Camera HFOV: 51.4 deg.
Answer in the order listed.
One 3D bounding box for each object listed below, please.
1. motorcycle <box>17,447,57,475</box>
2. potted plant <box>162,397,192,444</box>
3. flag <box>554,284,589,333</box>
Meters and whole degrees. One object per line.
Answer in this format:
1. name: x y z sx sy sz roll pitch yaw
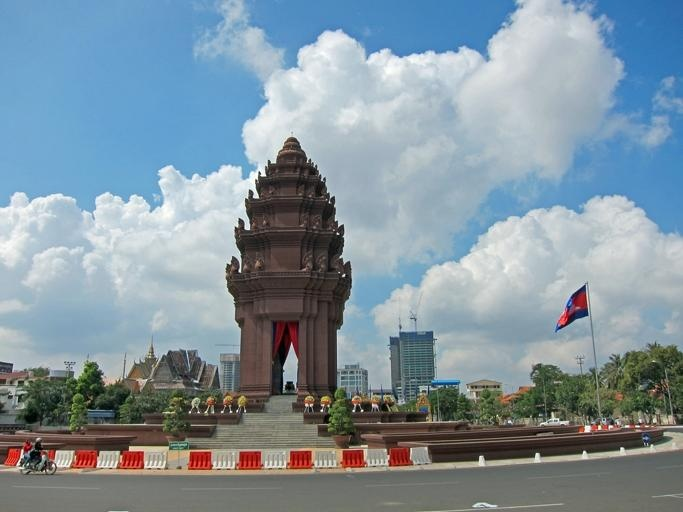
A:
1. motorcycle: -16.038 11.007 37.819 1.815 1.277 1.033 -2 -17 -1
2. potted plant: -10.963 10.867 47.272 1.565 3.077 2.033 0 -20 -4
3. flag: 17.083 3.696 52.147 1.888 2.729 2.615 -5 -21 9
